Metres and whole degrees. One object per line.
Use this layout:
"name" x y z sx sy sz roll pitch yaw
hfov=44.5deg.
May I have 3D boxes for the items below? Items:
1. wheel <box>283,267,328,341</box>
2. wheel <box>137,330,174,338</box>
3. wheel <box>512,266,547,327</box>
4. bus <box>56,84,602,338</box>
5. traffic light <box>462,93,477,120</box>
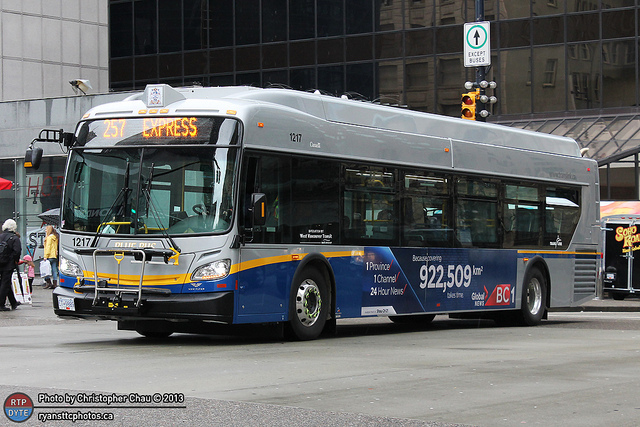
"wheel" -0.314 1.660 14.245 0.437 1.415 1.296 -3 -8 32
"wheel" -3.194 2.329 14.968 0.443 0.104 0.439 0 -2 0
"wheel" 5.004 2.009 18.957 0.476 1.359 1.376 2 9 39
"bus" 0.848 0.118 19.128 4.221 4.479 14.893 -1 -3 36
"traffic light" 4.349 -3.136 22.887 0.455 0.789 0.436 4 -7 -9
